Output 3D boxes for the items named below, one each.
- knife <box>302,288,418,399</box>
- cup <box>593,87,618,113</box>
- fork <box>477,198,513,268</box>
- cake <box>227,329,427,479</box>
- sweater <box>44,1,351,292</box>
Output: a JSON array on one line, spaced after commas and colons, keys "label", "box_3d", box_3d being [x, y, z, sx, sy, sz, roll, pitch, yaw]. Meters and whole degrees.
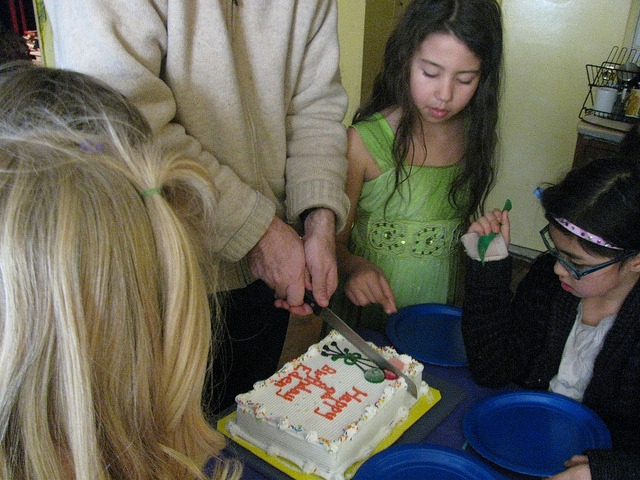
[{"label": "knife", "box_3d": [0.140, 0.329, 1.691, 0.022, 0.054, 0.396, -39, 82, -25]}, {"label": "cup", "box_3d": [1.751, -0.857, 3.215, 0.116, 0.130, 0.081, 11, 33, 24]}, {"label": "fork", "box_3d": [0.576, -0.020, 1.699, 0.271, 0.077, 0.012, -48, 26, -25]}, {"label": "cake", "box_3d": [0.058, 0.339, 1.423, 0.317, 0.129, 0.430, 21, 28, 32]}, {"label": "sweater", "box_3d": [-0.276, -0.229, 1.211, 0.470, 0.684, 0.369, -27, 51, -29]}]
